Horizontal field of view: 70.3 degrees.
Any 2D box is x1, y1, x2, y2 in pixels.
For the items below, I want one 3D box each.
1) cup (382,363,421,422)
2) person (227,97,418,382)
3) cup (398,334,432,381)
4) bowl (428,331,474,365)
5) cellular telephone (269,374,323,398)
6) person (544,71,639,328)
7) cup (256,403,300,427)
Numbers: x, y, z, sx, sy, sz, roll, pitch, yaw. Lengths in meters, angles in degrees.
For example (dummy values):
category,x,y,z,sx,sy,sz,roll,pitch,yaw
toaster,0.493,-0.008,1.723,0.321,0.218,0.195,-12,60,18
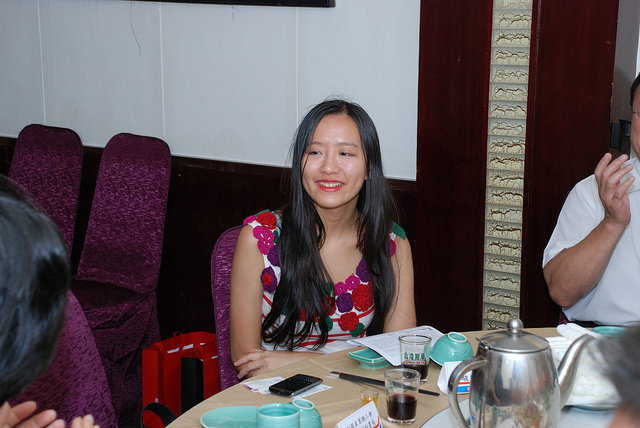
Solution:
category,x,y,z,sx,sy,sz,roll,pitch,yaw
cup,0.213,0.479,1.227,0.094,0.124,0.107,-3,-7,5
person,0.031,0.195,1.943,0.837,1.350,0.759,-5,17,-21
cup,0.287,0.440,1.394,0.100,0.143,0.096,-1,4,0
bowl,0.410,0.405,1.420,0.099,0.050,0.103,9,11,-2
cellular telephone,-0.068,0.486,1.302,0.152,0.025,0.069,-3,5,-40
person,1.198,-0.054,1.987,0.373,1.069,0.398,1,4,19
cup,-0.101,0.475,1.070,0.104,0.043,0.062,1,4,8
